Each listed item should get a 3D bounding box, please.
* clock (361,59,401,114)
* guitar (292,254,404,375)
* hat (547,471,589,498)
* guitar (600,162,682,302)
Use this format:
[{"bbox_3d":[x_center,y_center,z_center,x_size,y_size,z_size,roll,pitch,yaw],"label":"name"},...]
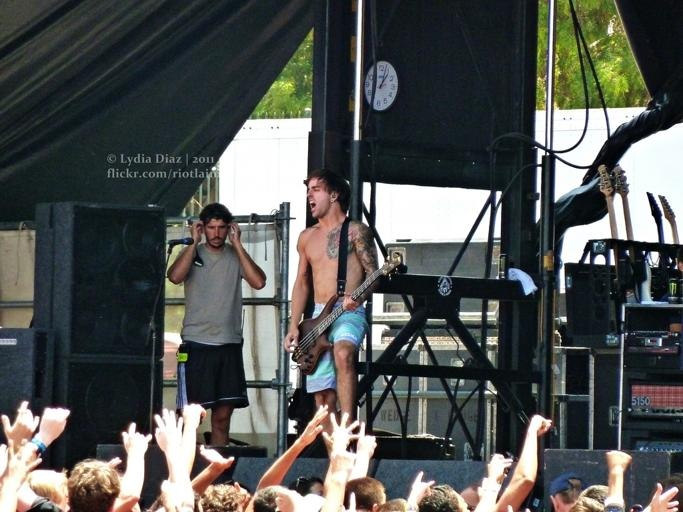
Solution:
[{"bbox_3d":[0.308,-1.420,15.256,0.419,0.562,0.077,0,-6,-12],"label":"clock"},{"bbox_3d":[0.005,0.433,14.413,0.873,0.888,0.154,-5,-9,34],"label":"guitar"},{"bbox_3d":[1.534,1.559,12.707,0.172,0.158,0.271,17,-7,1],"label":"hat"},{"bbox_3d":[2.486,-0.212,15.608,0.537,1.505,0.248,-28,14,-30],"label":"guitar"}]
